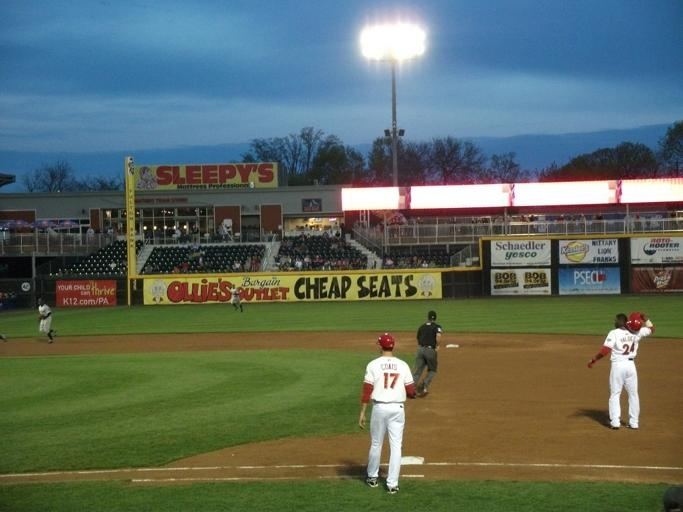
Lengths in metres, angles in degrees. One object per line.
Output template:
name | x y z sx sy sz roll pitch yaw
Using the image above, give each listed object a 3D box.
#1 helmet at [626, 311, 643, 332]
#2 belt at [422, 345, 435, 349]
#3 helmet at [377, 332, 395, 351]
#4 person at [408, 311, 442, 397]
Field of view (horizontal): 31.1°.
helmet | 10.407 2.399 43.341 0.436 0.388 0.690 30 36 27
belt | 3.304 3.391 45.468 0.403 0.114 0.080 -2 0 -17
helmet | 1.469 2.864 40.904 0.404 0.367 0.569 -3 25 -13
person | 3.181 3.650 45.968 1.116 3.057 1.014 1 4 -3
